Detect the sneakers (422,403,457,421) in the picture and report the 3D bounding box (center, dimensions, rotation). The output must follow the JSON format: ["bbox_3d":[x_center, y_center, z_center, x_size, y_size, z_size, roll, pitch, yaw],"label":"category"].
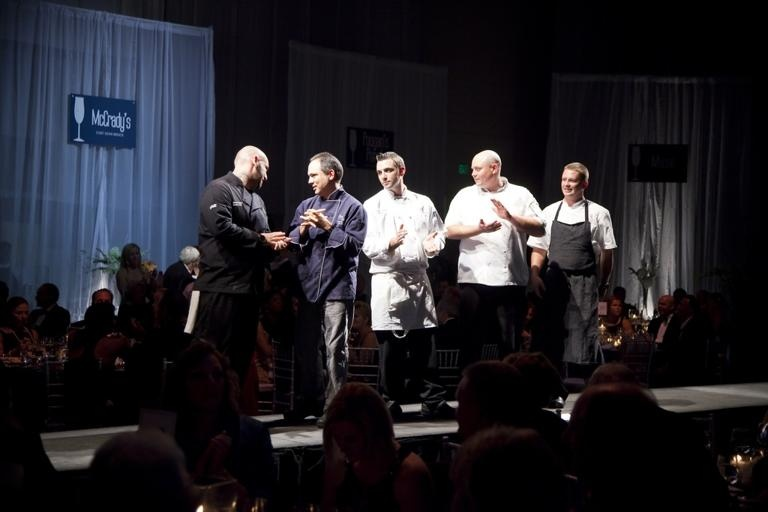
[{"bbox_3d":[0.455,1.283,5.357,0.242,0.096,0.173,2,5,-3],"label":"sneakers"}]

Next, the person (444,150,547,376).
[{"bbox_3d":[0.970,0.154,5.677,0.732,2.050,0.699,-2,16,1],"label":"person"}]
